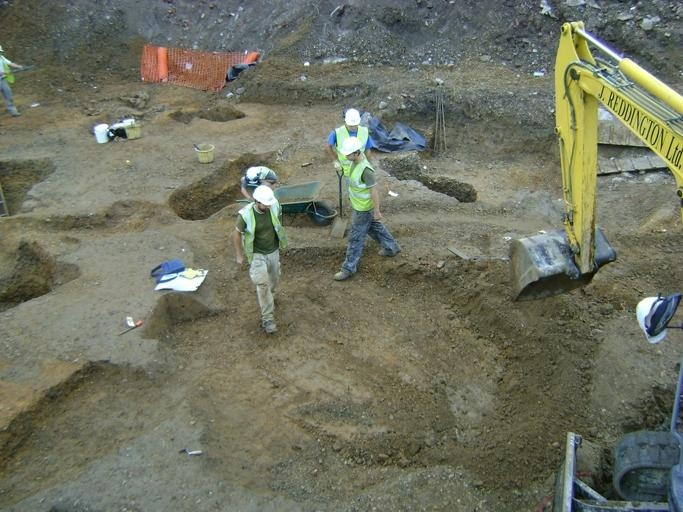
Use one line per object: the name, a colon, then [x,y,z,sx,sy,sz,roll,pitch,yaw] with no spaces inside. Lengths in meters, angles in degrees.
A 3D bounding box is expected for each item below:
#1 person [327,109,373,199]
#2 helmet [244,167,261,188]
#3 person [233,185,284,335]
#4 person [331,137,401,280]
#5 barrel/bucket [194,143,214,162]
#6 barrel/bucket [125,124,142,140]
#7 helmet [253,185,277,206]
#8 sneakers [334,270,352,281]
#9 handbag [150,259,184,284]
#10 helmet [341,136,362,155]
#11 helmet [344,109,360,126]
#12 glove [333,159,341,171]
person: [0.191,-1.592,9.623,0.734,1.805,0.611,-5,23,1]
helmet: [-1.432,-1.227,9.020,0.239,0.294,0.324,1,34,-4]
person: [-1.147,0.064,8.125,0.706,1.999,0.883,-6,37,-9]
person: [0.400,-0.684,8.782,0.952,2.271,0.946,17,39,21]
barrel/bucket: [-3.014,-2.303,12.389,0.425,0.334,0.600,-8,38,-12]
barrel/bucket: [-4.959,-2.921,13.365,0.317,0.288,0.269,-11,34,-18]
helmet: [-1.095,-0.814,7.875,0.305,0.302,0.286,3,37,2]
sneakers: [0.024,0.322,9.186,0.268,0.118,0.144,0,54,0]
handbag: [-2.802,0.218,9.007,0.451,0.167,0.342,-22,41,-26]
helmet: [0.177,-1.643,8.300,0.348,0.190,0.258,-20,38,-25]
helmet: [0.194,-2.261,9.277,0.238,0.268,0.325,-2,37,-4]
glove: [-0.068,-1.595,9.789,0.141,0.081,0.201,2,45,-12]
